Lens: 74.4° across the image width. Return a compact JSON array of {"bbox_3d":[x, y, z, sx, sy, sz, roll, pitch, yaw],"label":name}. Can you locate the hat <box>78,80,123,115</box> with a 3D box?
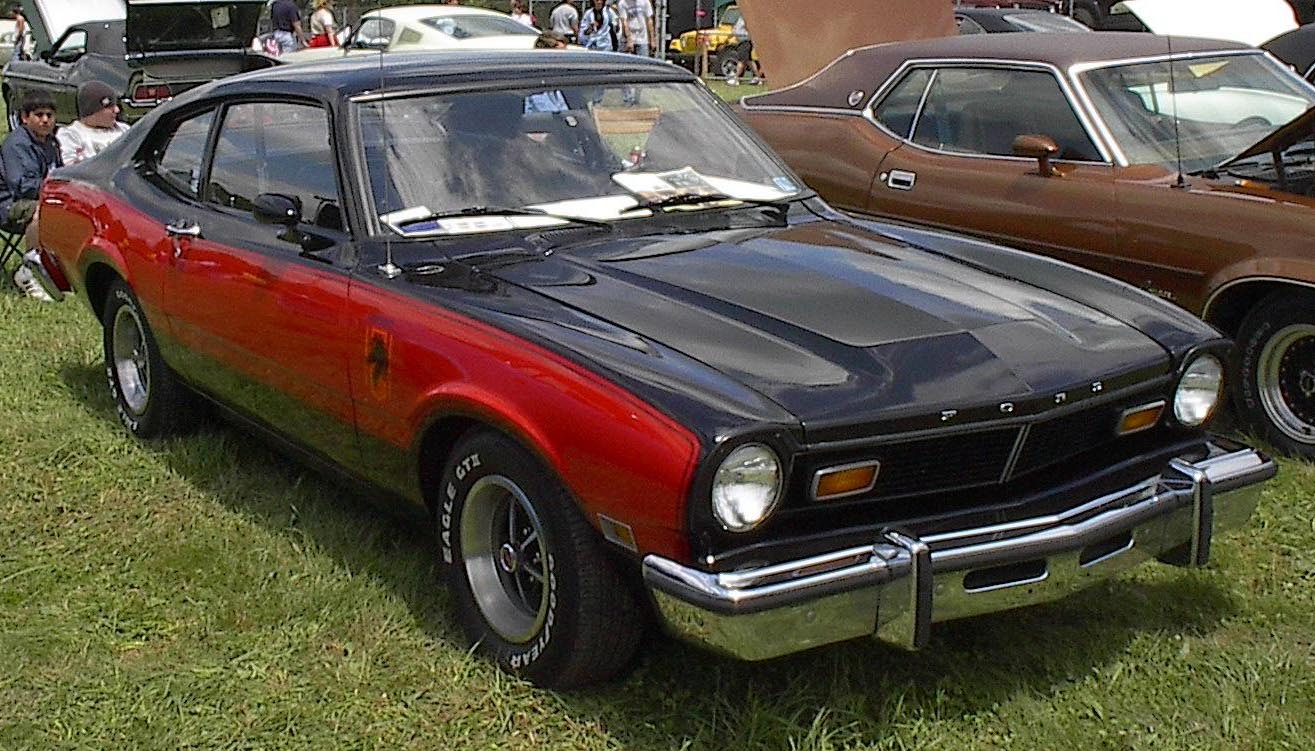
[{"bbox_3d":[-5.186,-2.577,8.038,0.403,0.280,0.345,-2,22,-26],"label":"hat"}]

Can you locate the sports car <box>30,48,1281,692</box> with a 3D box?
[{"bbox_3d":[-0.691,-0.374,4.330,2.781,1.399,5.248,-15,26,-41],"label":"sports car"}]
